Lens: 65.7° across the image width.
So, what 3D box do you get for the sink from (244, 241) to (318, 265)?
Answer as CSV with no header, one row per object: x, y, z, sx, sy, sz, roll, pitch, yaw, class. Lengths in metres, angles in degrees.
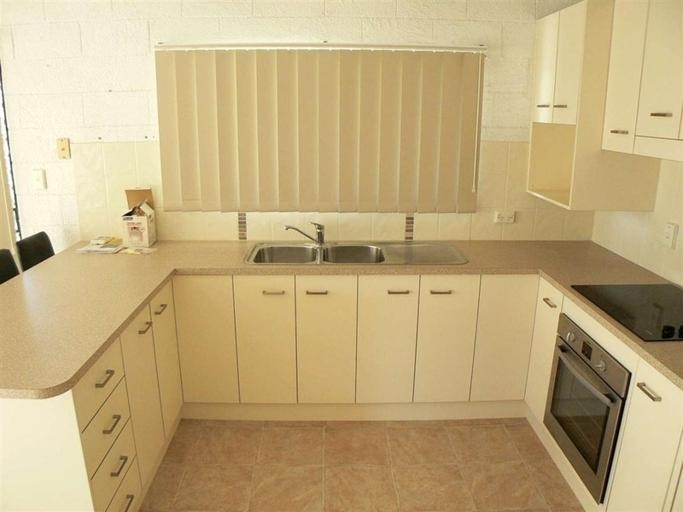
-0.437,-0.005,3.612,0.510,0.122,0.253,-9,18,-29,sink

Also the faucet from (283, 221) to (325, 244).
-0.252,-0.156,3.656,0.285,0.144,0.196,-2,16,-5,faucet

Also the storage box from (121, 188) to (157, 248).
-1.395,-0.263,3.645,0.204,0.378,0.244,-3,17,-9,storage box
